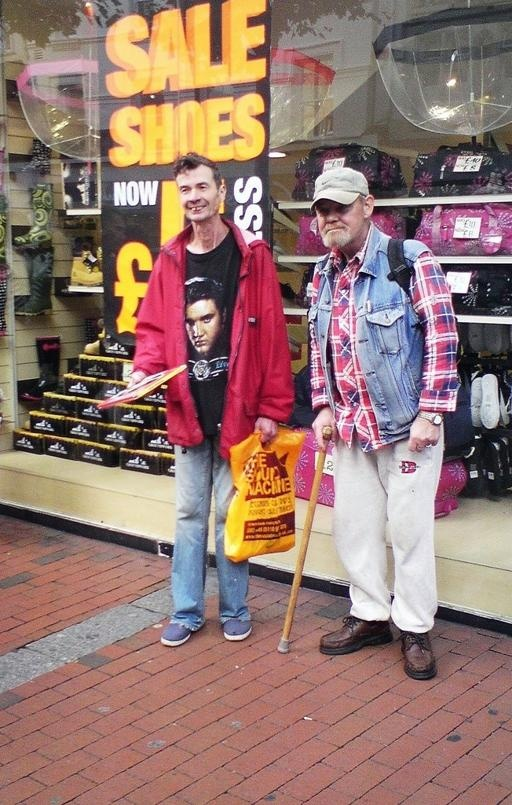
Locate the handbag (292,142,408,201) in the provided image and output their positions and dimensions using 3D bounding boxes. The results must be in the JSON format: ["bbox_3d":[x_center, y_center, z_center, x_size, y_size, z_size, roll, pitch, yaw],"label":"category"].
[{"bbox_3d":[0.450,-1.195,3.585,0.559,0.272,0.378,19,27,40],"label":"handbag"}]

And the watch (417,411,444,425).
[{"bbox_3d":[0.588,0.051,2.358,0.070,0.039,0.072,13,-6,9],"label":"watch"}]

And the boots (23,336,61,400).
[{"bbox_3d":[-1.548,-0.269,5.018,0.161,0.423,0.323,9,14,34],"label":"boots"}]

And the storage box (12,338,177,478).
[{"bbox_3d":[-0.971,0.054,4.796,1.006,0.900,0.770,7,20,18],"label":"storage box"}]

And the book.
[{"bbox_3d":[-0.415,-0.067,2.588,0.253,0.136,0.454,0,5,5],"label":"book"}]

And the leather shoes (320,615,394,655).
[{"bbox_3d":[0.394,0.935,2.846,0.313,0.135,0.115,-2,2,-21],"label":"leather shoes"}]

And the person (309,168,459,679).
[{"bbox_3d":[0.449,0.129,2.741,0.651,1.868,0.614,2,7,17],"label":"person"}]
